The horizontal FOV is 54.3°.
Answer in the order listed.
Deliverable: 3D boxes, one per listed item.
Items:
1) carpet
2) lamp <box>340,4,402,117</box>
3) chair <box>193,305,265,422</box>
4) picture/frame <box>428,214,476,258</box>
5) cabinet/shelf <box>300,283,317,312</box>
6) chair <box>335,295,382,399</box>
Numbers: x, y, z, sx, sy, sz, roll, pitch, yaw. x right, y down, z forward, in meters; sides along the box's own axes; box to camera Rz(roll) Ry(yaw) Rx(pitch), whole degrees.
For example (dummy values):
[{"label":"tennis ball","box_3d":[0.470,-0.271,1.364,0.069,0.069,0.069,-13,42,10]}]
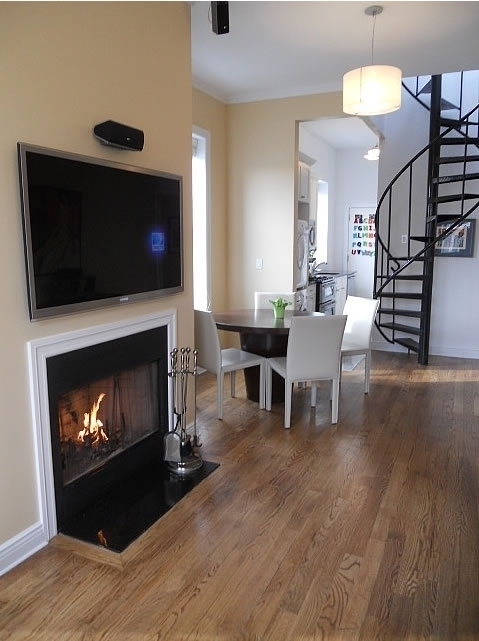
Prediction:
[{"label":"carpet","box_3d":[-0.485,0.874,2.271,0.339,0.045,0.794,4,9,25]},{"label":"lamp","box_3d":[0.925,-1.685,3.167,0.349,0.645,0.741,3,8,24]},{"label":"chair","box_3d":[-0.104,0.285,3.609,0.405,0.979,0.430,-12,14,-26]},{"label":"picture/frame","box_3d":[2.346,-0.944,5.141,0.026,0.566,0.407,-9,5,-34]},{"label":"cabinet/shelf","box_3d":[0.834,-0.287,5.735,0.204,0.588,0.262,0,17,8]},{"label":"chair","box_3d":[1.016,0.271,4.249,0.346,0.743,0.403,-3,-3,13]}]
